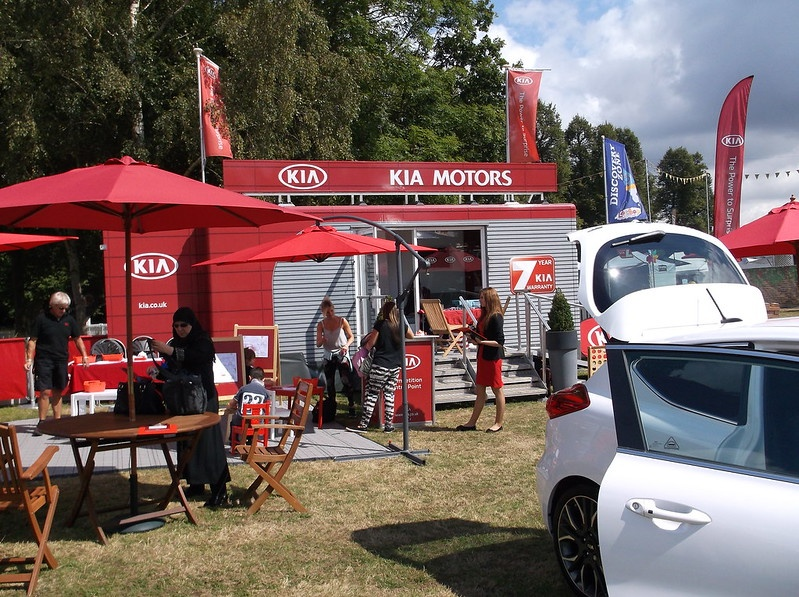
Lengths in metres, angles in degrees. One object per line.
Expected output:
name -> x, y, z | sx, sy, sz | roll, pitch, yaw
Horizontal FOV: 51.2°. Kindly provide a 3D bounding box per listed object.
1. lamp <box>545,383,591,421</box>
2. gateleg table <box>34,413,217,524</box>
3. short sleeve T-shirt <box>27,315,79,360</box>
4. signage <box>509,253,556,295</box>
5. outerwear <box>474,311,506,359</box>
lamp -> 1.432, 0.872, 7.045 | 0.324, 0.254, 0.125 | -17, -17, 39
gateleg table -> -2.670, 1.824, 8.123 | 1.649, 1.256, 1.406 | -1, -2, -15
short sleeve T-shirt -> -5.150, 0.560, 12.428 | 0.737, 0.742, 0.409 | 6, 2, -37
signage -> 2.608, -0.446, 16.278 | 0.853, 0.727, 0.115 | 0, -4, -8
outerwear -> 1.267, 0.560, 11.901 | 0.440, 0.570, 0.309 | -3, 1, 18
